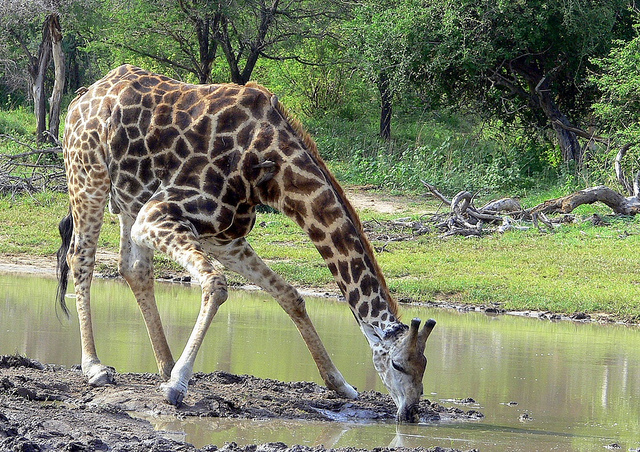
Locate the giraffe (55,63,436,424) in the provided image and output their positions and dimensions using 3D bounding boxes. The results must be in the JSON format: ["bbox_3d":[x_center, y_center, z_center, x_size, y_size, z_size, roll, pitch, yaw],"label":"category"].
[{"bbox_3d":[-1.460,0.397,17.489,6.794,5.027,2.856,4,4,22],"label":"giraffe"}]
